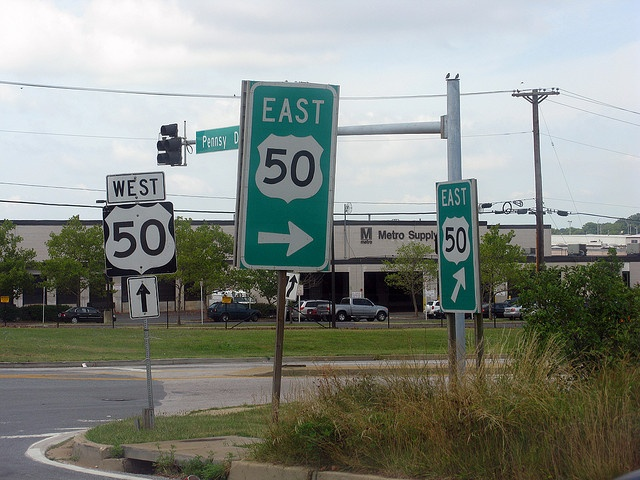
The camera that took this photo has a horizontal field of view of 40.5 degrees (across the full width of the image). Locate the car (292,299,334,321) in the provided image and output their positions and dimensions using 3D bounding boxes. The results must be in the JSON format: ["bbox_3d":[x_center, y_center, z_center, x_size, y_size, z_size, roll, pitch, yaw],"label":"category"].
[{"bbox_3d":[-0.568,4.410,54.648,1.822,1.299,5.544,0,-5,-11],"label":"car"}]

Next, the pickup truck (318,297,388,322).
[{"bbox_3d":[2.101,4.568,56.824,4.233,1.759,1.883,-3,2,-25],"label":"pickup truck"}]

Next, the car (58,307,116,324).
[{"bbox_3d":[-15.604,4.987,57.514,2.519,0.933,1.045,-2,0,-25],"label":"car"}]

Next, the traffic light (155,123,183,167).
[{"bbox_3d":[-3.749,-2.405,21.839,0.600,1.167,0.611,-20,-20,34],"label":"traffic light"}]

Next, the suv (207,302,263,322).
[{"bbox_3d":[-5.640,4.718,56.621,2.958,1.175,1.451,-2,1,-16],"label":"suv"}]

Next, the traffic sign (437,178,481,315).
[{"bbox_3d":[1.957,0.097,12.249,0.328,1.879,0.842,2,-5,-33],"label":"traffic sign"}]
